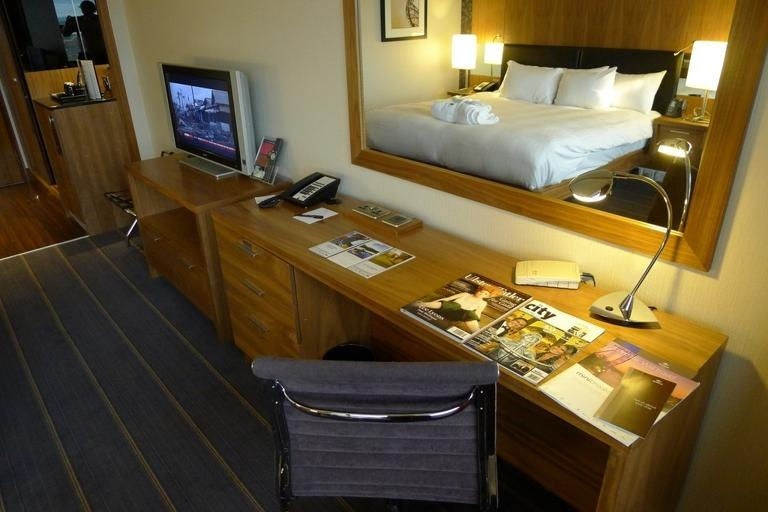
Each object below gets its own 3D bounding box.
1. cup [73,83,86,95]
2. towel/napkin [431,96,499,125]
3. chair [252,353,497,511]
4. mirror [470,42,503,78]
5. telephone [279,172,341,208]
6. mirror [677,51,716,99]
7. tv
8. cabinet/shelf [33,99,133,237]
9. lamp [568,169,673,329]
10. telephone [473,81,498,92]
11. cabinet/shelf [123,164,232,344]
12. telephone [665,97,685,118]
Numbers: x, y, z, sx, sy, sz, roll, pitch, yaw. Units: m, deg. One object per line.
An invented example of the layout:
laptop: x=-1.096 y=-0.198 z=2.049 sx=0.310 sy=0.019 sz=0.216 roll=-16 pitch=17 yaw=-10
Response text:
cup: x=-2.758 y=-1.502 z=4.325 sx=0.087 sy=0.082 sz=0.181 roll=-12 pitch=29 yaw=-23
towel/napkin: x=0.362 y=-0.691 z=2.172 sx=0.161 sy=0.067 sz=0.209 roll=-17 pitch=33 yaw=-31
chair: x=0.028 y=0.546 z=1.896 sx=0.783 sy=0.663 sz=0.636 roll=1 pitch=33 yaw=4
mirror: x=0.445 y=-0.865 z=2.105 sx=0.133 sy=0.206 sz=0.130 roll=4 pitch=48 yaw=9
telephone: x=-0.433 y=-0.385 z=2.827 sx=0.342 sy=0.102 sz=0.354 roll=3 pitch=29 yaw=20
mirror: x=1.097 y=-0.636 z=1.672 sx=0.058 sy=0.224 sz=0.057 roll=-22 pitch=42 yaw=-34
tv: x=-1.156 y=-0.899 z=3.163 sx=0.836 sy=0.570 sz=0.249 roll=23 pitch=41 yaw=28
cabinet/shelf: x=-2.680 y=-0.784 z=4.314 sx=0.397 sy=0.902 sz=1.011 roll=-20 pitch=39 yaw=-27
lamp: x=0.954 y=-0.028 z=1.898 sx=0.420 sy=0.653 sz=0.331 roll=0 pitch=35 yaw=8
telephone: x=0.447 y=-0.735 z=2.096 sx=0.063 sy=0.021 sz=0.044 roll=-1 pitch=50 yaw=25
cabinet/shelf: x=-1.345 y=-0.134 z=3.402 sx=1.160 sy=0.935 sz=0.456 roll=26 pitch=38 yaw=37
telephone: x=1.043 y=-0.533 z=1.709 sx=0.038 sy=0.063 sz=0.037 roll=-24 pitch=45 yaw=-24
